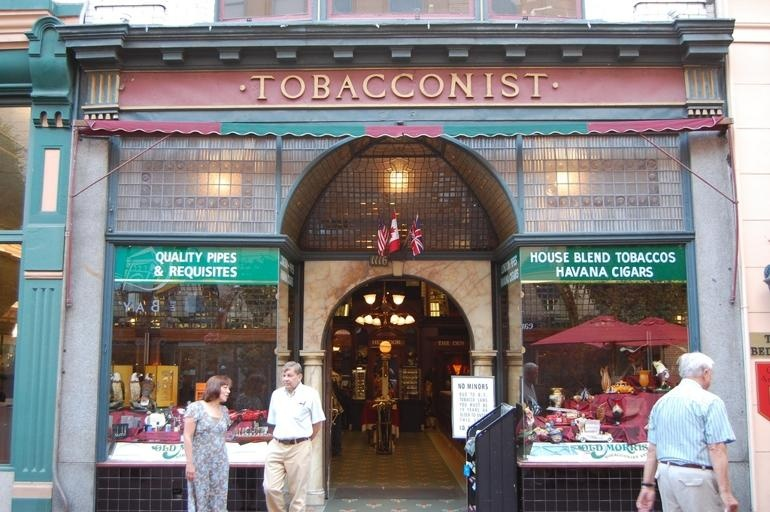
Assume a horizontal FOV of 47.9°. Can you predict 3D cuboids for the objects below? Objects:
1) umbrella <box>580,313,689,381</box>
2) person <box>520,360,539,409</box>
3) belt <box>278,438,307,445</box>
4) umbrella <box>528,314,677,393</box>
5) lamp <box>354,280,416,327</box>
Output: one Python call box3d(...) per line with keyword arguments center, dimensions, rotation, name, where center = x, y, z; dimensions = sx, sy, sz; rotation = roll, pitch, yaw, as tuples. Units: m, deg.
box3d(center=(3.607, 1.484, 14.203), dimensions=(2.011, 0.909, 2.040), rotation=(-7, -3, 2), name="umbrella")
box3d(center=(2.307, 2.087, 13.649), dimensions=(0.261, 0.795, 0.111), rotation=(-3, -3, 6), name="person")
box3d(center=(-1.357, 2.757, 12.775), dimensions=(0.433, 0.109, 0.071), rotation=(-2, -3, -7), name="belt")
box3d(center=(3.798, 1.811, 13.933), dimensions=(1.527, 0.970, 1.492), rotation=(-1, -15, 10), name="umbrella")
box3d(center=(-0.028, 1.231, 22.948), dimensions=(1.364, 1.374, 1.331), rotation=(1, -6, 4), name="lamp")
